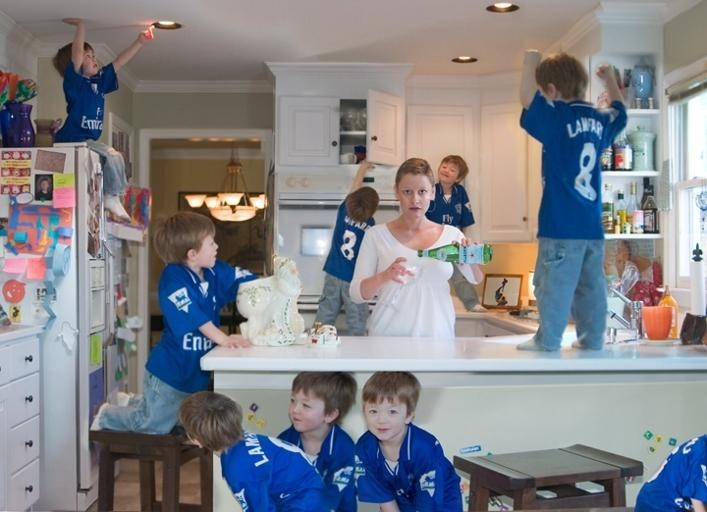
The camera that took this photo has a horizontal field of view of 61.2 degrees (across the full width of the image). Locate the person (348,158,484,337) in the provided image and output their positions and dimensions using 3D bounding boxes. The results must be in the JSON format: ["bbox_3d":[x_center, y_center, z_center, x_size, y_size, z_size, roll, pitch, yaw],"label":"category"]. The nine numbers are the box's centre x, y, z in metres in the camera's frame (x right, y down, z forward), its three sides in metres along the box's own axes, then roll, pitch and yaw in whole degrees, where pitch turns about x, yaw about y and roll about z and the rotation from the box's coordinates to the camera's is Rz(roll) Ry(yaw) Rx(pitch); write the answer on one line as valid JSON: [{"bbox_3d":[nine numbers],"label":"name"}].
[{"bbox_3d":[0.247,-0.033,2.815,0.480,0.769,0.260,1,0,17],"label":"person"}]

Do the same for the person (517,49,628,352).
[{"bbox_3d":[0.933,-0.233,2.561,0.443,1.053,0.226,1,0,-29],"label":"person"}]

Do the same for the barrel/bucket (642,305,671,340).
[{"bbox_3d":[1.424,0.311,2.813,0.128,0.126,0.200,1,0,28],"label":"barrel/bucket"}]

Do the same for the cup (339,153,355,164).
[{"bbox_3d":[-0.050,-0.796,4.854,0.107,0.073,0.068,1,1,15],"label":"cup"}]

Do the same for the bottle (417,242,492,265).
[{"bbox_3d":[0.436,-0.011,2.615,0.298,0.082,0.238,1,0,8],"label":"bottle"}]

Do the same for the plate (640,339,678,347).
[{"bbox_3d":[1.400,0.393,2.744,0.160,0.022,0.225,1,0,27],"label":"plate"}]

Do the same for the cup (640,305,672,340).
[{"bbox_3d":[1.409,0.307,2.773,0.150,0.159,0.142,0,-2,0],"label":"cup"}]

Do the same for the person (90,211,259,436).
[{"bbox_3d":[-0.748,0.297,2.665,0.810,1.000,0.405,1,0,41],"label":"person"}]

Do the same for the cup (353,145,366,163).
[{"bbox_3d":[0.056,-0.831,4.882,0.132,0.134,0.108,-2,-1,23],"label":"cup"}]

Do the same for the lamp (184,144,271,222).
[{"bbox_3d":[-1.591,-0.930,7.597,0.973,0.942,1.464,1,0,-14],"label":"lamp"}]
